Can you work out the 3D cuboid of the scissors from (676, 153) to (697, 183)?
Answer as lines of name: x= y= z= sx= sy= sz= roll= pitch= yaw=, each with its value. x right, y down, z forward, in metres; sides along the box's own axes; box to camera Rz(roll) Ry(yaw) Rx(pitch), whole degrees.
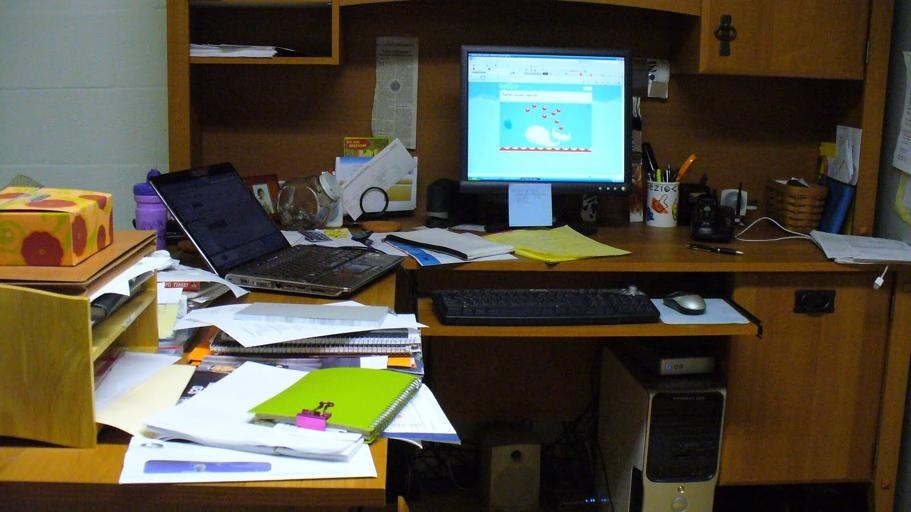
scissors: x=0.977 y=-0.362 z=3.082 sx=0.057 sy=0.058 sz=0.242 roll=29 pitch=26 yaw=15

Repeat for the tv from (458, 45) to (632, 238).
tv: x=0.345 y=-0.476 z=2.929 sx=0.897 sy=0.818 sz=0.307 roll=0 pitch=-2 yaw=-3

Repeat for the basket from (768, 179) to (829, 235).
basket: x=1.396 y=-0.203 z=3.020 sx=0.188 sy=0.143 sz=0.237 roll=1 pitch=10 yaw=1

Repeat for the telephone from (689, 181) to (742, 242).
telephone: x=1.020 y=-0.154 z=2.911 sx=0.159 sy=0.172 sz=0.208 roll=7 pitch=15 yaw=29

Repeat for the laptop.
laptop: x=-0.607 y=-0.055 z=2.469 sx=0.699 sy=0.267 sz=0.479 roll=7 pitch=17 yaw=12

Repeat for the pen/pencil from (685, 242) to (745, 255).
pen/pencil: x=0.967 y=-0.026 z=2.763 sx=0.148 sy=0.019 sz=0.020 roll=11 pitch=10 yaw=24
